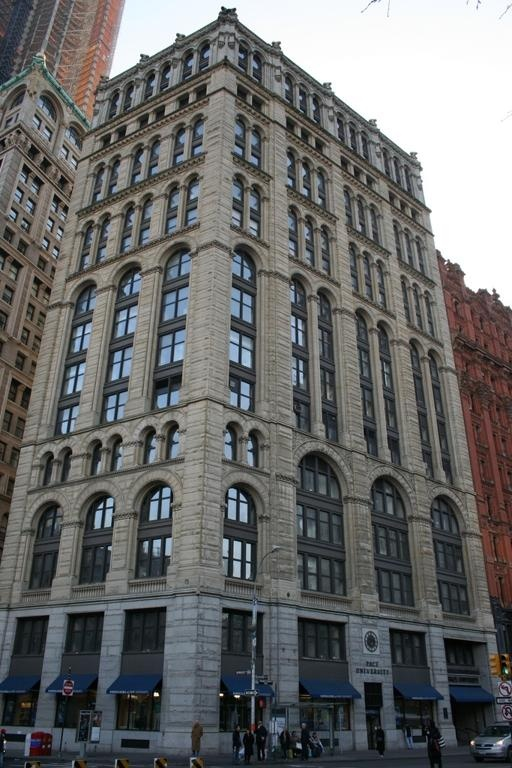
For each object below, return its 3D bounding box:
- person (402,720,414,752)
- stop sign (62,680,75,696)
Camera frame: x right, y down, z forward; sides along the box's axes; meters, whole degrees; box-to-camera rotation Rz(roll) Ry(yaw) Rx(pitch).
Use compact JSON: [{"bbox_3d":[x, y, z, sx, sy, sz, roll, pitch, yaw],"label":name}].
[{"bbox_3d":[9.235,21.322,37.101,0.546,1.386,1.784,-7,-31,10],"label":"person"},{"bbox_3d":[-8.241,13.264,26.752,0.368,0.579,0.902,10,-32,-17],"label":"stop sign"}]
